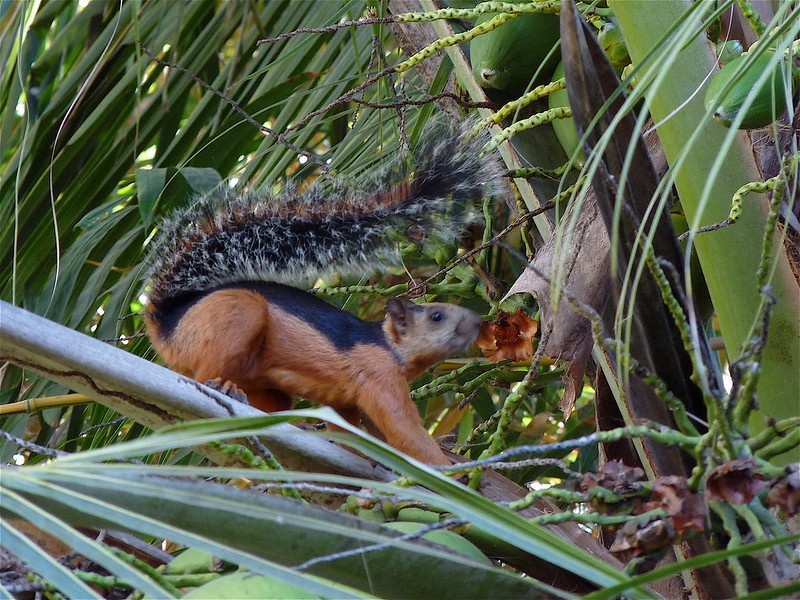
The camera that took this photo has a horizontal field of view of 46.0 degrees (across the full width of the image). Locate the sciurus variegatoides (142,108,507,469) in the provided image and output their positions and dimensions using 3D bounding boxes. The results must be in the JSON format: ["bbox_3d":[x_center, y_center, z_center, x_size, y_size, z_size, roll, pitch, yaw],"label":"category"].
[{"bbox_3d":[-0.223,-0.001,2.303,0.833,1.038,0.367,6,-42,-3],"label":"sciurus variegatoides"}]
